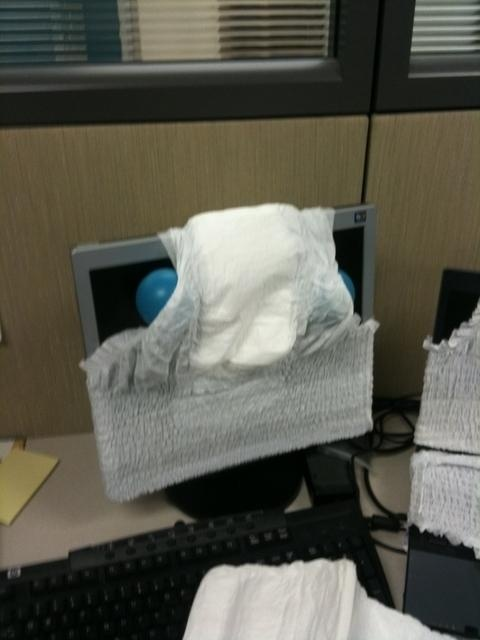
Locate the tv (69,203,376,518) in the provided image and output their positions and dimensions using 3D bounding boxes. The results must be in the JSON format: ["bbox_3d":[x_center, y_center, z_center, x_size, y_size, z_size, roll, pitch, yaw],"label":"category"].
[{"bbox_3d":[-0.016,0.036,0.546,0.219,0.318,0.044,-13,32,-15],"label":"tv"}]
